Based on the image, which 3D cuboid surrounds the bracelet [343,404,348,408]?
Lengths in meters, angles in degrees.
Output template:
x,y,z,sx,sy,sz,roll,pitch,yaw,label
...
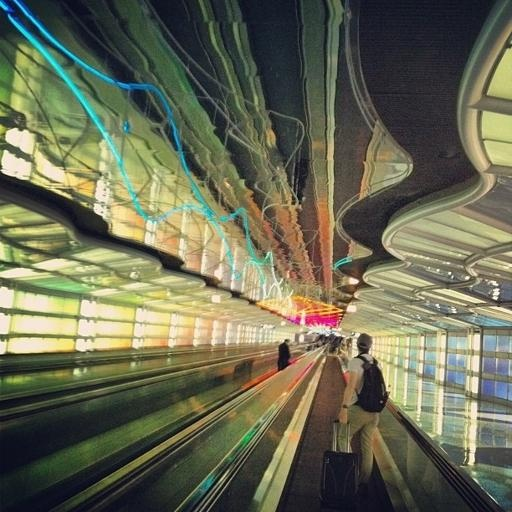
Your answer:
x,y,z,sx,sy,sz,roll,pitch,yaw,label
1.183,1.995,5.474,0.051,0.057,0.116,-4,-10,21,bracelet
